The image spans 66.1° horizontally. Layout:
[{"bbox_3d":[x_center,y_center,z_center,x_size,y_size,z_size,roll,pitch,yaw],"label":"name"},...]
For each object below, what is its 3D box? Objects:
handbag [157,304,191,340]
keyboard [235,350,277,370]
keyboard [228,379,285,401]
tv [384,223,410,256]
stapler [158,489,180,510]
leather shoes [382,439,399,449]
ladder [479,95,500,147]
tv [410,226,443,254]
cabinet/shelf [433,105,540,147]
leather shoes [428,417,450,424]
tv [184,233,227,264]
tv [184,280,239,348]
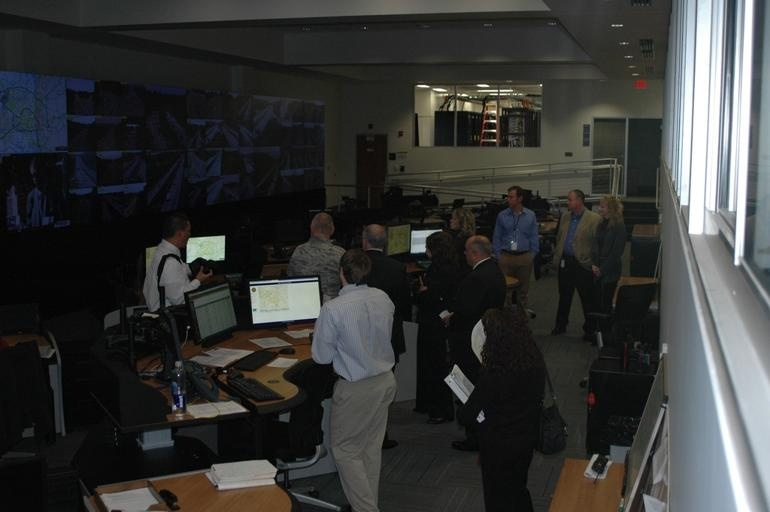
[{"bbox_3d":[-1.546,0.479,4.347,0.235,0.268,0.194,-8,27,-5],"label":"handbag"},{"bbox_3d":[-0.984,0.795,4.521,0.198,0.048,0.366,4,12,23],"label":"keyboard"},{"bbox_3d":[-0.893,0.903,4.013,0.462,0.043,0.169,9,14,40],"label":"keyboard"},{"bbox_3d":[0.168,-0.225,8.038,0.029,0.315,0.422,3,6,36],"label":"tv"},{"bbox_3d":[-1.071,1.210,2.946,0.090,0.080,0.067,3,6,-13],"label":"stapler"},{"bbox_3d":[0.049,1.706,5.369,0.170,0.074,0.056,-7,19,-17],"label":"leather shoes"},{"bbox_3d":[3.541,-4.461,19.597,0.380,1.625,0.864,5,-2,-19],"label":"ladder"},{"bbox_3d":[0.600,-0.221,8.331,0.564,0.414,0.309,0,2,-8],"label":"tv"},{"bbox_3d":[3.402,-4.178,19.355,3.497,1.257,0.992,4,11,22],"label":"cabinet/shelf"},{"bbox_3d":[0.544,1.592,5.800,0.186,0.081,0.076,4,8,-3],"label":"leather shoes"},{"bbox_3d":[-2.112,-0.117,7.197,0.595,0.403,0.116,-4,8,-37],"label":"tv"},{"bbox_3d":[-1.422,0.486,4.812,0.074,0.350,0.471,-4,12,22],"label":"tv"}]
